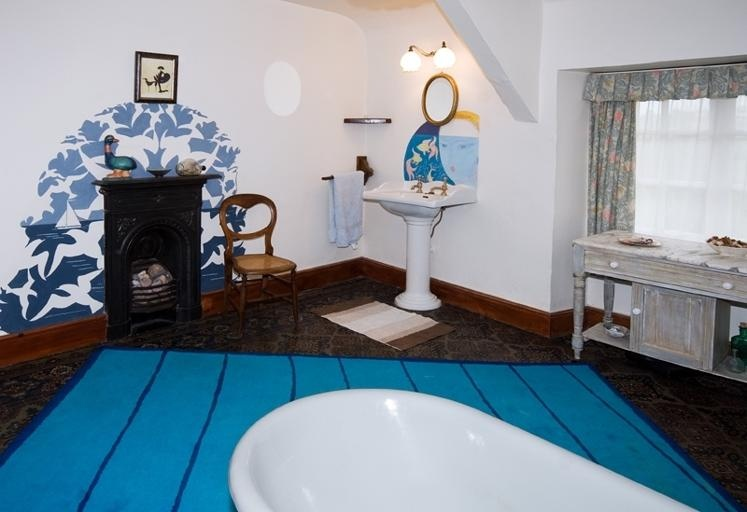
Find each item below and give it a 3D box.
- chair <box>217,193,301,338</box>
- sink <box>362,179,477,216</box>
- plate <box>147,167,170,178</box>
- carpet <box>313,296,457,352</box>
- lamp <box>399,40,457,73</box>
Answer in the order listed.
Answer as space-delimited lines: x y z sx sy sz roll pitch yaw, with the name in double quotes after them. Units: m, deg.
-1.149 0.009 4.731 0.693 1.193 1.051 -5 14 -15 "chair"
0.462 -0.572 4.952 1.087 0.323 0.596 9 17 34 "sink"
-1.958 -0.762 4.381 0.192 0.082 0.315 -7 15 -22 "plate"
0.133 0.645 4.688 1.142 0.069 0.752 12 19 42 "carpet"
0.552 -2.038 4.890 0.647 0.270 0.299 9 17 36 "lamp"
